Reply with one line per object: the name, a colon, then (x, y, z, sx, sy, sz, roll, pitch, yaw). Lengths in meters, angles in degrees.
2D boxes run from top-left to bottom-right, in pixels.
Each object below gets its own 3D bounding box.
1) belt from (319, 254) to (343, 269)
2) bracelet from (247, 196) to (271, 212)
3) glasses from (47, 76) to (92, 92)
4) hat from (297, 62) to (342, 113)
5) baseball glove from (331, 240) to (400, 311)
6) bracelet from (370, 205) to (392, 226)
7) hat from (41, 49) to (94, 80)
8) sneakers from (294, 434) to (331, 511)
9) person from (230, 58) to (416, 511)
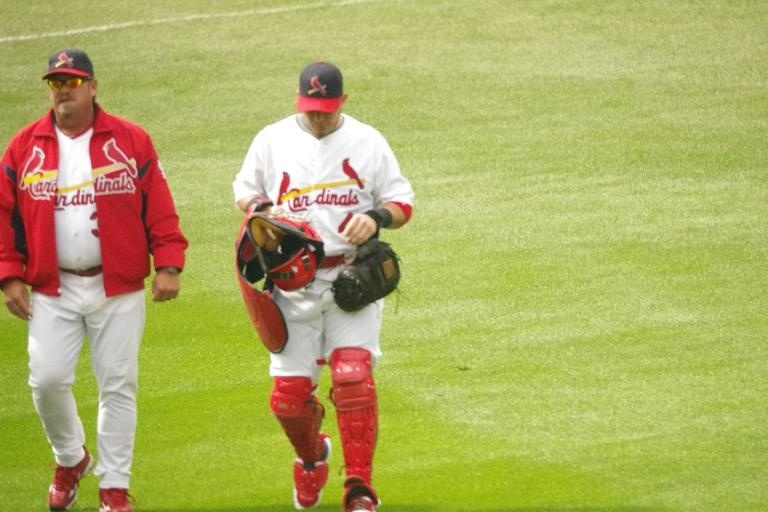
belt: (-0.365, 0.044, 9.144, 0.156, 0.037, 0.090, -10, 6, -27)
bracelet: (-0.882, -0.360, 9.117, 0.129, 0.080, 0.204, -1, 3, -3)
glasses: (-2.189, -1.193, 8.929, 0.286, 0.093, 0.123, -1, 7, -4)
hat: (-0.434, -1.173, 9.019, 0.305, 0.366, 0.223, 4, -30, -2)
baseball glove: (-0.110, 0.149, 9.117, 0.471, 0.496, 0.212, -6, 9, -38)
bracelet: (-0.010, -0.279, 9.148, 0.104, 0.130, 0.133, -34, 14, 1)
hat: (-2.191, -1.339, 8.951, 0.322, 0.212, 0.197, -2, 7, -17)
sneakers: (-0.507, 1.600, 9.371, 0.227, 0.527, 0.230, 4, 15, 14)
person: (-0.429, 0.254, 9.104, 1.138, 3.217, 0.774, 1, 8, 12)
